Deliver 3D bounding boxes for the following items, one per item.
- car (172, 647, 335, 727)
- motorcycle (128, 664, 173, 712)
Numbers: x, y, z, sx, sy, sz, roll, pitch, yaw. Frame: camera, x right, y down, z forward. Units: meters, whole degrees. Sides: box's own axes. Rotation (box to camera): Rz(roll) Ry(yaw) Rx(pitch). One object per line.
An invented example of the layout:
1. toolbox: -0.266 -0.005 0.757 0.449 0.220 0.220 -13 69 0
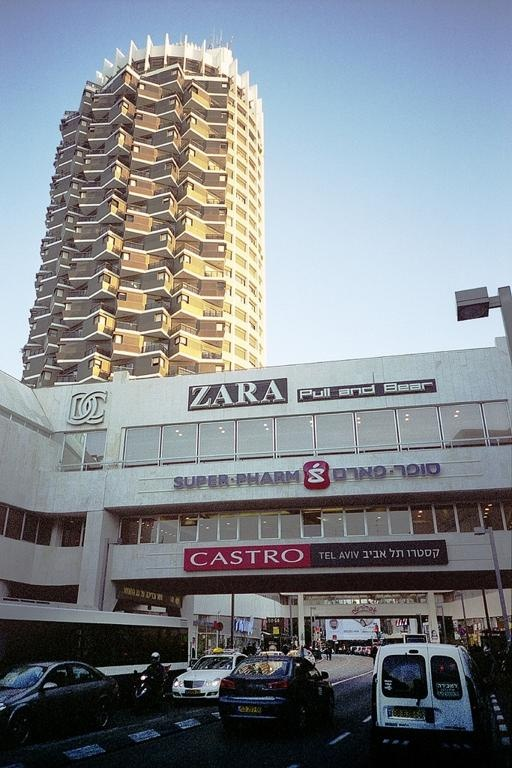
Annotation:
1. car: 0.496 5.940 10.095 1.304 1.039 2.915 -6 -22 18
2. motorcycle: -3.245 8.948 15.373 0.721 1.049 1.864 -10 -32 9
